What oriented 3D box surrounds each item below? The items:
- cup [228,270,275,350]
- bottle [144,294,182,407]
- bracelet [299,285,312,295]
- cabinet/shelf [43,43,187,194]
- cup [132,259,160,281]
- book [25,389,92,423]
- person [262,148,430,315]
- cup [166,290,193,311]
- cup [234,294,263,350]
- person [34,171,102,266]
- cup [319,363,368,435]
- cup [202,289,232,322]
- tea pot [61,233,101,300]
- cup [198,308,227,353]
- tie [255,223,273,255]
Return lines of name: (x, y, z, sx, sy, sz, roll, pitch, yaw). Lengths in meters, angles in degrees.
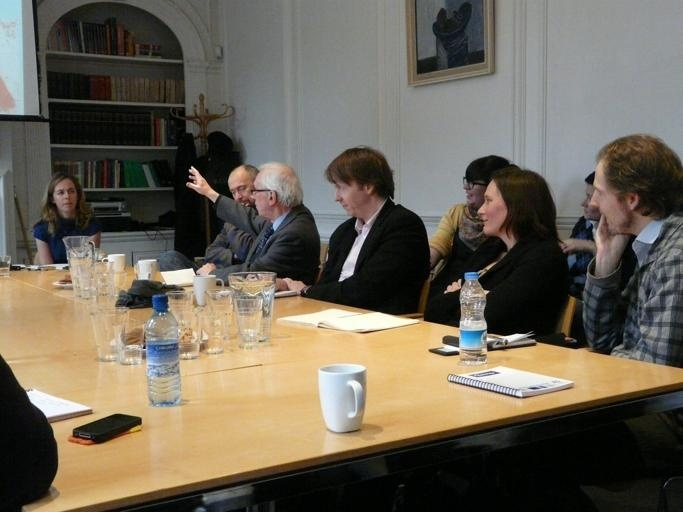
cup: (-0.290, 0.173, 1.907, 0.148, 0.254, 0.162, 4, 5, 0)
bottle: (-0.413, 0.208, 1.333, 0.080, 0.242, 0.166, -5, 5, -17)
bracelet: (-0.184, 0.174, 2.943, 0.047, 0.047, 0.032, 9, 26, -46)
cabinet/shelf: (-2.543, -1.504, 6.401, 1.872, 1.758, 0.629, -1, 2, -28)
cup: (-1.044, 0.075, 3.105, 0.109, 0.151, 0.146, 4, 5, 36)
book: (-0.629, 0.326, 1.280, 0.104, 0.012, 0.113, 13, 11, 42)
person: (0.087, -0.014, 3.167, 0.682, 1.151, 0.699, 1, 7, -16)
cup: (-0.465, 0.123, 1.664, 0.056, 0.044, 0.055, -4, -3, 0)
cup: (-0.293, 0.205, 1.822, 0.092, 0.157, 0.097, 1, -4, 0)
person: (-2.277, -0.223, 4.857, 0.539, 0.925, 0.456, -7, 9, -34)
cup: (0.005, 0.291, 1.179, 0.098, 0.125, 0.132, -2, 3, -9)
cup: (-0.378, 0.140, 1.815, 0.084, 0.124, 0.091, -2, 8, 0)
tea pot: (-1.253, 0.054, 2.847, 0.207, 0.295, 0.159, -7, 3, -37)
cup: (-0.389, 0.222, 1.761, 0.110, 0.182, 0.115, -1, -2, 0)
tie: (-0.469, -0.107, 3.587, 0.123, 0.176, 0.058, 18, -17, 33)
